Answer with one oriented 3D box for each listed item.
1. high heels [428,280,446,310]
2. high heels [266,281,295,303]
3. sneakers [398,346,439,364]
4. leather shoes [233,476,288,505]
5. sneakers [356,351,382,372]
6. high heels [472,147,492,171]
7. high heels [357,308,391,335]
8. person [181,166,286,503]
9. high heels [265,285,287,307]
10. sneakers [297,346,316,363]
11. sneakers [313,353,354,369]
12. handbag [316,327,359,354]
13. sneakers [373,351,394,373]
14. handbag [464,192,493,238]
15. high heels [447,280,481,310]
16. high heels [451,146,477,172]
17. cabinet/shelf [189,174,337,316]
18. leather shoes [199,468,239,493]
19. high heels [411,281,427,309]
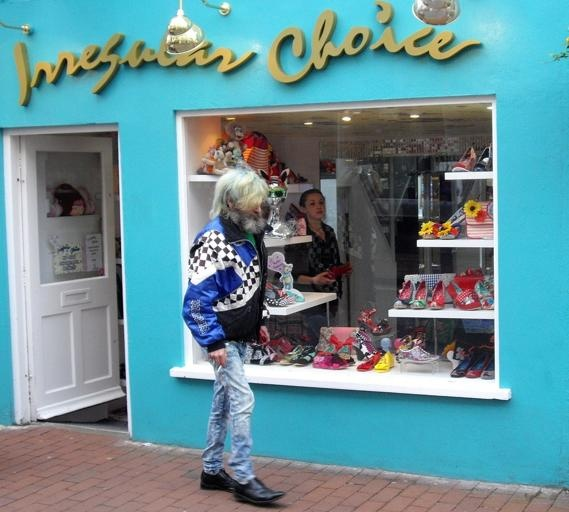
[{"bbox_3d":[1.071,0.258,4.057,0.082,0.096,0.238,1,44,28],"label":"high heels"},{"bbox_3d":[-0.037,0.300,4.532,0.208,0.087,0.128,1,0,25],"label":"high heels"},{"bbox_3d":[0.955,0.694,4.088,0.265,0.112,0.109,0,1,9],"label":"sneakers"},{"bbox_3d":[-0.169,1.390,3.456,0.360,0.156,0.129,-2,1,24],"label":"leather shoes"},{"bbox_3d":[0.622,0.765,4.201,0.079,0.087,0.242,-4,5,43],"label":"sneakers"},{"bbox_3d":[1.279,-0.612,3.716,0.053,0.161,0.098,24,-13,-37],"label":"high heels"},{"bbox_3d":[0.676,0.498,4.423,0.111,0.152,0.320,-11,16,-41],"label":"high heels"},{"bbox_3d":[-0.325,0.483,3.469,0.528,2.023,0.399,-3,3,-4],"label":"person"},{"bbox_3d":[-0.072,0.316,4.526,0.199,0.091,0.116,0,-1,35],"label":"high heels"},{"bbox_3d":[0.179,0.759,4.422,0.102,0.104,0.213,-1,3,30],"label":"sneakers"},{"bbox_3d":[0.349,0.770,4.256,0.217,0.088,0.130,0,1,8],"label":"sneakers"},{"bbox_3d":[0.405,0.646,4.516,0.221,0.217,0.077,0,-21,11],"label":"handbag"},{"bbox_3d":[0.711,0.766,4.173,0.071,0.081,0.210,-2,2,24],"label":"sneakers"},{"bbox_3d":[1.285,-0.245,3.757,0.121,0.264,0.229,-5,4,-41],"label":"handbag"},{"bbox_3d":[1.202,0.266,3.897,0.097,0.093,0.241,-16,34,-19],"label":"high heels"},{"bbox_3d":[1.191,-0.626,3.823,0.090,0.092,0.245,17,44,27],"label":"high heels"},{"bbox_3d":[-0.287,-0.050,3.552,0.499,0.936,0.366,4,10,-19],"label":"cabinet/shelf"},{"bbox_3d":[-0.430,1.420,3.667,0.264,0.111,0.106,-1,-1,12],"label":"leather shoes"},{"bbox_3d":[0.959,0.279,4.115,0.077,0.211,0.083,-2,-39,28],"label":"high heels"}]
